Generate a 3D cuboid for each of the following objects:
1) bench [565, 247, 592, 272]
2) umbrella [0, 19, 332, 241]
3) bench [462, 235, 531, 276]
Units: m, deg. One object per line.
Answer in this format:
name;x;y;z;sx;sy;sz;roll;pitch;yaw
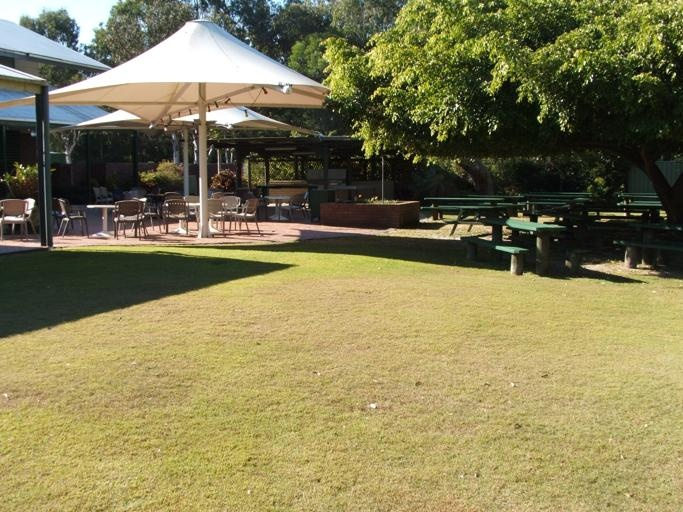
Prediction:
bench;3.976;0.021;10.067;0.475;0.444;0.418;6;16;23
umbrella;-3.399;-2.877;13.503;5.600;4.762;5.680;-4;13;-26
bench;2.530;-0.024;10.165;0.291;0.376;1.580;-6;11;-27
